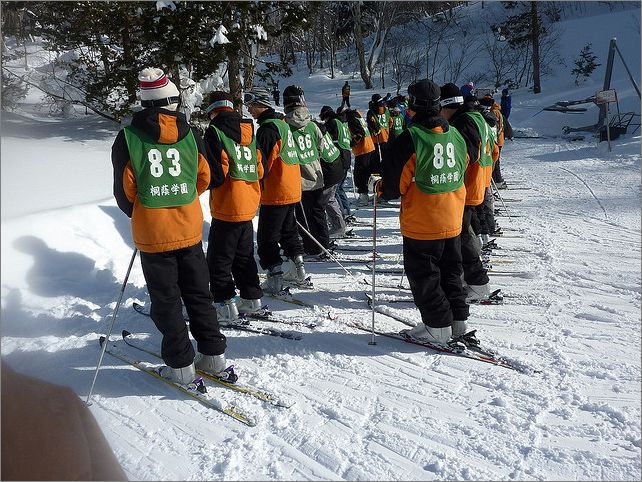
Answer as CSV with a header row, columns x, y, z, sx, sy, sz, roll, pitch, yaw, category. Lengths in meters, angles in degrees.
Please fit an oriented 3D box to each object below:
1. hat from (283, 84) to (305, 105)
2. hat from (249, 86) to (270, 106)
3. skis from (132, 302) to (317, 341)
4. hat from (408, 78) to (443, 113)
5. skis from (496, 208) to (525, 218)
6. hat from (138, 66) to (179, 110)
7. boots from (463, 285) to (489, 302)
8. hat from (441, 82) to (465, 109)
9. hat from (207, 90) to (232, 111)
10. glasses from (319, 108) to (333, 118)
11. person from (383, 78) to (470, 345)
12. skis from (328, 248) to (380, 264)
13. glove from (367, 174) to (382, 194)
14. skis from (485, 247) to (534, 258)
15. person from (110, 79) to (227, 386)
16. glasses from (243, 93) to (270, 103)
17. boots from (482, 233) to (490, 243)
x,y,z,sx,sy,sz,roll,pitch,yaw,category
-0.368,-1.889,6.233,0.215,0.227,0.297,21,31,39,hat
-0.698,-1.701,5.662,0.232,0.196,0.178,35,41,21,hat
-1.005,0.835,4.910,1.913,0.157,0.202,9,25,6,skis
0.946,-1.397,4.605,0.261,0.295,0.353,0,45,-5,hat
3.434,-0.497,8.904,0.323,0.049,0.188,6,21,4,skis
-1.371,-1.278,4.059,0.328,0.358,0.251,-10,17,-17,hat
1.828,0.605,5.719,0.294,0.237,0.221,-10,6,14,boots
1.400,-1.557,5.177,0.234,0.236,0.344,-7,22,4,hat
-1.004,-1.421,4.861,0.183,0.199,0.236,0,36,-14,hat
0.101,-2.266,8.487,0.160,0.166,0.231,-31,31,-23,glasses
1.019,-0.251,4.701,0.912,2.529,0.583,-4,17,2,person
0.490,0.226,7.257,0.540,0.076,0.282,1,18,1,skis
0.530,-0.565,4.766,0.080,0.191,0.153,-4,1,23,glove
2.713,0.176,6.969,0.792,0.088,0.099,4,-4,-27,skis
-1.293,0.094,4.184,0.728,2.406,0.405,-12,18,-23,person
-0.756,-1.650,5.612,0.182,0.071,0.143,3,9,1,glasses
2.429,-0.039,7.151,0.108,0.112,0.115,-4,0,-3,boots
